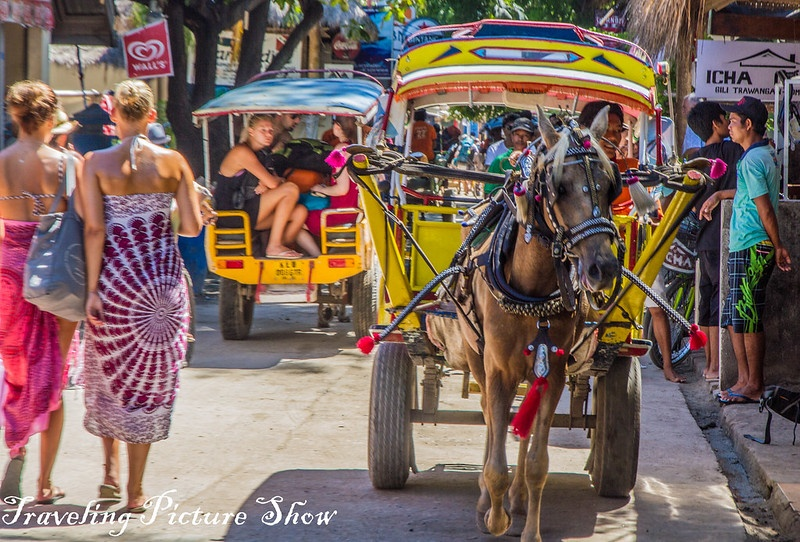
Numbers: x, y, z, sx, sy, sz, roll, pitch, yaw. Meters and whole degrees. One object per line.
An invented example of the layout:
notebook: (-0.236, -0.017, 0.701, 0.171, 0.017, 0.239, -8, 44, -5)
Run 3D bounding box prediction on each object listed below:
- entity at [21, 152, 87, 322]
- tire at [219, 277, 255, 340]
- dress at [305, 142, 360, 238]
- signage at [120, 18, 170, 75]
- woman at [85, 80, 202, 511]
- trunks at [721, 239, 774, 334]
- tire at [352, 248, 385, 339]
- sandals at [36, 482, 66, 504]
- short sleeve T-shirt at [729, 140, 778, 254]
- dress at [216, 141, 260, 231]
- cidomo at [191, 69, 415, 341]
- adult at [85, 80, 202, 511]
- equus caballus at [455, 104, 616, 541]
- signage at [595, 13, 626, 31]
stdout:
entity: (-2.725, -0.196, 8.588, 0.475, 1.277, 0.482, -3, 13, -18)
tire: (-2.074, 0.446, 13.789, 0.238, 0.638, 0.785, 1, 7, 14)
dress: (-0.817, -0.847, 14.142, 0.832, 0.928, 1.097, 3, 4, -4)
signage: (-3.853, -3.294, 16.519, 0.080, 0.791, 0.941, 10, 23, 34)
woman: (-2.102, 0.174, 8.765, 0.693, 3.324, 0.844, 9, 14, 32)
trunks: (3.413, 0.151, 10.807, 0.464, 0.924, 0.282, 4, 12, 14)
tire: (-0.373, 0.227, 12.393, 0.427, 1.109, 1.189, 3, 1, 5)
sandals: (-2.793, 1.770, 8.740, 0.234, 0.197, 0.104, -7, 9, -31)
short sleeve T-shirt: (3.483, -0.729, 10.794, 0.417, 1.094, 0.412, 4, 13, 16)
dress: (-2.130, -1.089, 14.079, 0.557, 0.704, 0.450, 6, 0, 22)
cidomo: (-2.245, -0.882, 14.774, 2.444, 2.917, 3.990, -7, 15, -24)
adult: (-2.103, 0.172, 8.766, 0.694, 3.321, 0.842, 9, 14, 32)
equus caballus: (1.010, 0.458, 7.981, 0.699, 3.253, 1.538, -5, 13, -26)
signage: (4.714, -5.584, 24.770, 0.591, 0.317, 0.553, 0, -3, 2)
